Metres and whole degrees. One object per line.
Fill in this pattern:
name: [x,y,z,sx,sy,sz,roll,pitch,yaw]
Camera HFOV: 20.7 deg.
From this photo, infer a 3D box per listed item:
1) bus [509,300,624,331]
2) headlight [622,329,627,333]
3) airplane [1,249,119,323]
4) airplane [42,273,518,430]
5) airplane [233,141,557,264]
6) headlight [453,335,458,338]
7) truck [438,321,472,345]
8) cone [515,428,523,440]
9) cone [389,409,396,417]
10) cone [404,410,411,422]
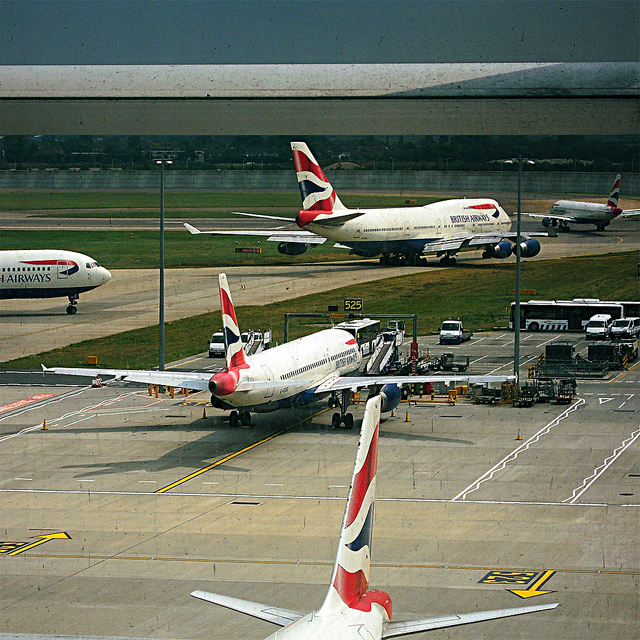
bus: [14.204,-0.285,96.364,8.322,2.034,2.238,1,3,12]
headlight: [15.782,0.564,91.476,0.243,0.137,0.375,-1,2,15]
airplane: [-16.388,-2.796,105.976,6.078,3.175,5.751,-5,10,-27]
airplane: [-1.655,1.790,73.238,21.328,6.505,17.534,-1,0,11]
airplane: [5.731,-7.416,122.049,6.520,6.776,23.489,0,0,35]
headlight: [6.841,0.844,90.035,0.171,0.061,0.158,-1,5,7]
truck: [6.883,0.718,91.227,1.390,1.057,2.520,-1,-2,10]
cone: [7.843,4.628,69.692,0.269,0.298,0.249,0,5,7]
cone: [3.017,3.941,74.591,0.302,0.281,0.294,1,3,0]
cone: [3.592,4.096,74.163,0.412,0.384,0.376,0,1,-9]
